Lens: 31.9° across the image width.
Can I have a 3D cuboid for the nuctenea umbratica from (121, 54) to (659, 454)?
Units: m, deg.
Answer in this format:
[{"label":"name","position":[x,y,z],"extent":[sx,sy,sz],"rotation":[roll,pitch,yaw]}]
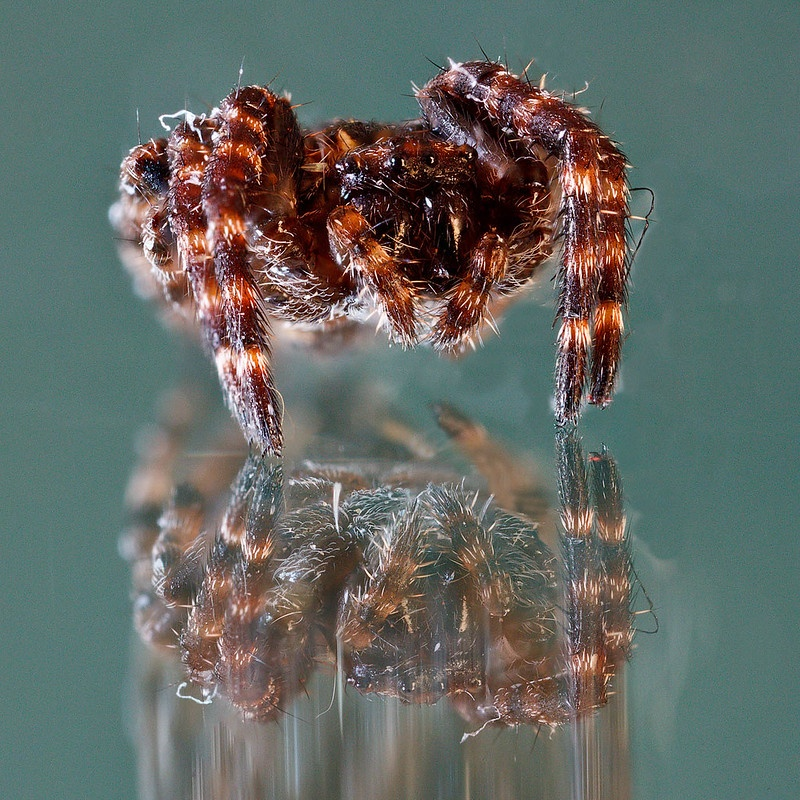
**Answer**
[{"label":"nuctenea umbratica","position":[-0.007,-0.185,1.499],"extent":[0.315,0.299,0.572],"rotation":[-3,17,-8]}]
